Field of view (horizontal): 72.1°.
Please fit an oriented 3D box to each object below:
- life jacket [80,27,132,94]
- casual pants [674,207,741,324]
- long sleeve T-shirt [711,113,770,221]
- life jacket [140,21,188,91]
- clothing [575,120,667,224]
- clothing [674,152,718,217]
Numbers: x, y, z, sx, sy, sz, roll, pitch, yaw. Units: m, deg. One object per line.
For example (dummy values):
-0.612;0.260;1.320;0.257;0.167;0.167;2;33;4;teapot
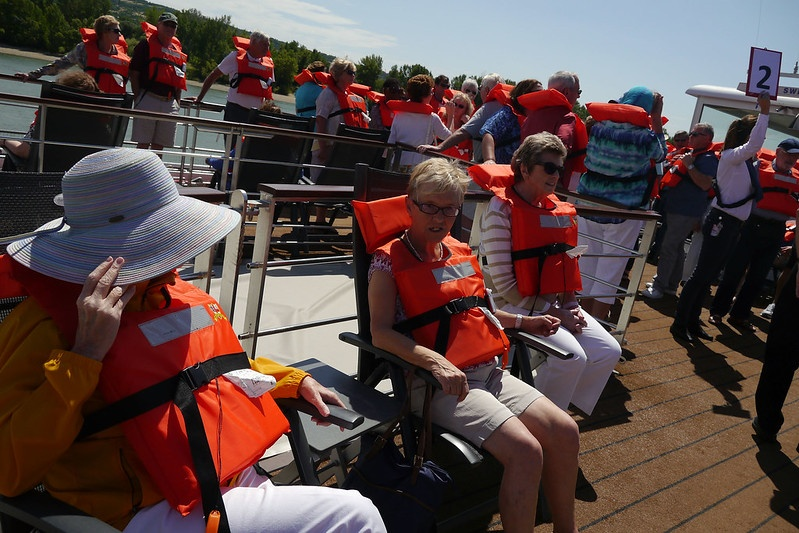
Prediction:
-3.977;-2.712;7.354;0.623;0.807;0.477;2;24;-47;life jacket
3.198;0.043;5.722;0.366;1.277;0.498;15;18;35;casual pants
3.491;-1.020;5.666;0.373;1.053;0.468;13;16;28;long sleeve T-shirt
-3.052;-2.730;7.167;0.415;0.737;0.558;7;6;29;life jacket
2.131;-0.977;5.278;0.720;0.925;0.662;5;31;13;clothing
3.336;-0.925;6.192;0.319;0.566;0.575;5;41;-7;clothing
